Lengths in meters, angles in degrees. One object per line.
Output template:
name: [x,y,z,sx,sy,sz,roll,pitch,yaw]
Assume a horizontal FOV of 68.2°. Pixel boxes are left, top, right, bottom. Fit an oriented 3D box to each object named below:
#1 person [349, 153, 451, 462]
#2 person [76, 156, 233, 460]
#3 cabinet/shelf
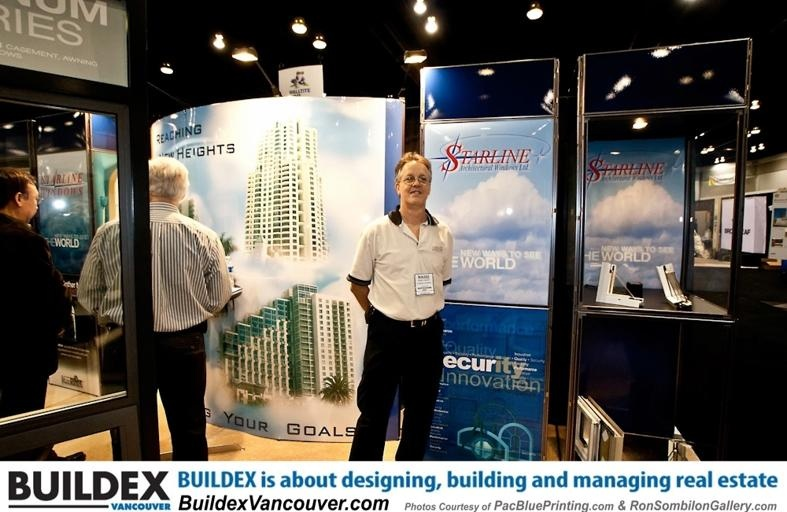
person: [0.016,0.377,4.286,0.751,2.166,0.688,4,15,1]
person: [-1.819,0.653,4.553,1.058,2.774,0.871,3,9,-11]
cabinet/shelf: [2.160,0.875,4.680,1.250,1.205,0.676,3,5,13]
